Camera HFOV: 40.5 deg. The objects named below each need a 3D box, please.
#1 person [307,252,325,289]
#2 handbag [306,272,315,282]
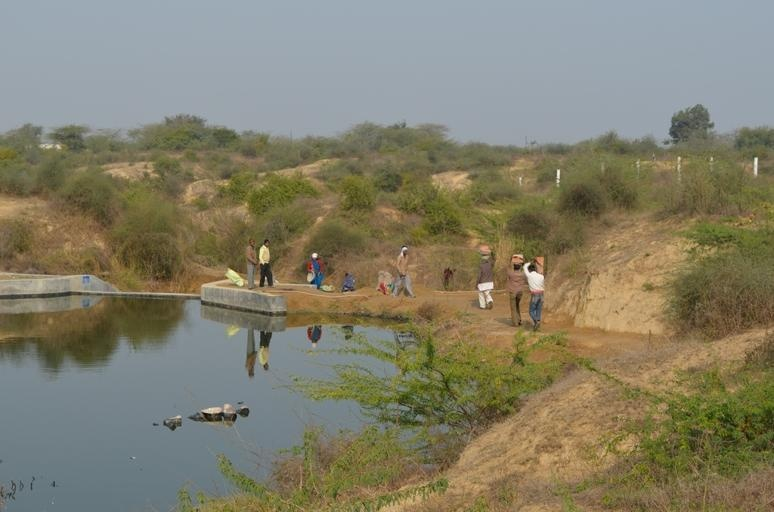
[{"bbox_3d":[-3.022,0.609,44.717,0.619,1.491,2.278,1,1,-4],"label":"person"},{"bbox_3d":[-3.278,0.870,45.313,0.177,0.411,0.386,6,-7,-31],"label":"handbag"}]
